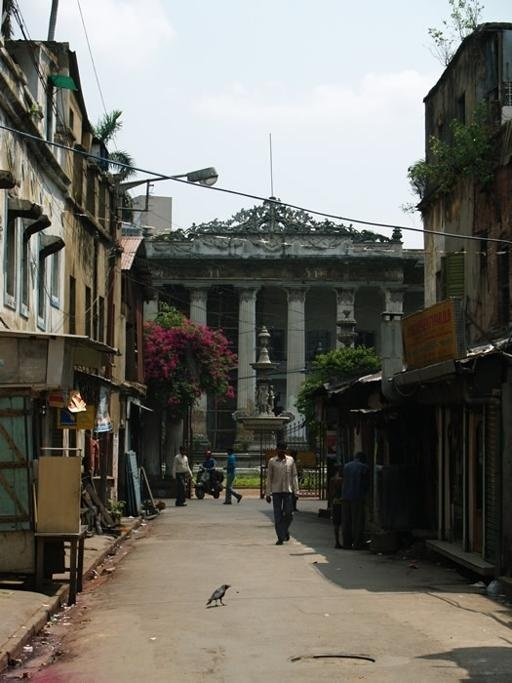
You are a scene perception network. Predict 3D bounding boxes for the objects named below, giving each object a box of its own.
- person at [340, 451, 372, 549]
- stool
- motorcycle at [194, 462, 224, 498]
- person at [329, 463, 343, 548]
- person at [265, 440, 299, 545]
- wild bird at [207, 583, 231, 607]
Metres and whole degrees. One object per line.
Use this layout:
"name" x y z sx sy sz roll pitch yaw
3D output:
"person" 1.447 2.334 19.332 0.361 1.397 0.347 0 -3 35
"stool" -2.124 2.643 14.210 0.490 0.840 1.153 -1 -6 -1
"motorcycle" -1.280 3.803 35.148 0.482 0.708 1.039 -4 -17 16
"person" 1.233 2.574 20.498 0.321 1.293 0.279 3 5 12
"person" 0.378 2.322 20.126 0.409 1.565 0.450 -1 1 14
"wild bird" -0.407 2.540 13.171 0.249 0.204 0.146 -16 -18 26
